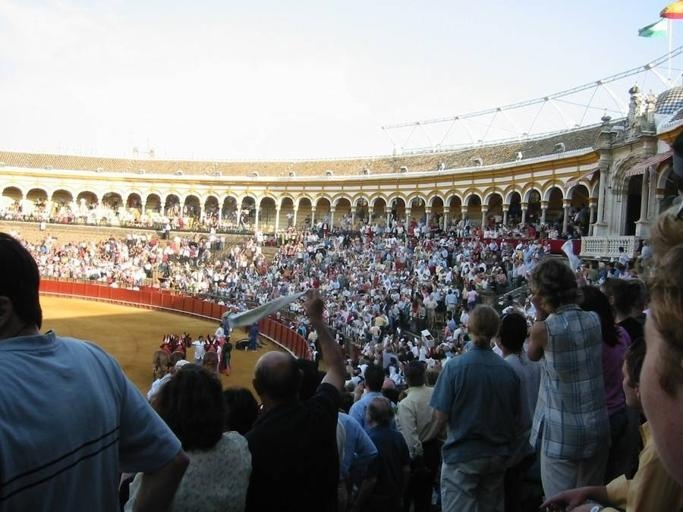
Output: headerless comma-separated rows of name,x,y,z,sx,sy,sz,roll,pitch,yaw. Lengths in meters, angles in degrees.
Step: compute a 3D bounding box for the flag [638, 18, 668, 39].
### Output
flag,13.828,-10.028,28.520,1.062,0.542,0.817,-5,-5,21
